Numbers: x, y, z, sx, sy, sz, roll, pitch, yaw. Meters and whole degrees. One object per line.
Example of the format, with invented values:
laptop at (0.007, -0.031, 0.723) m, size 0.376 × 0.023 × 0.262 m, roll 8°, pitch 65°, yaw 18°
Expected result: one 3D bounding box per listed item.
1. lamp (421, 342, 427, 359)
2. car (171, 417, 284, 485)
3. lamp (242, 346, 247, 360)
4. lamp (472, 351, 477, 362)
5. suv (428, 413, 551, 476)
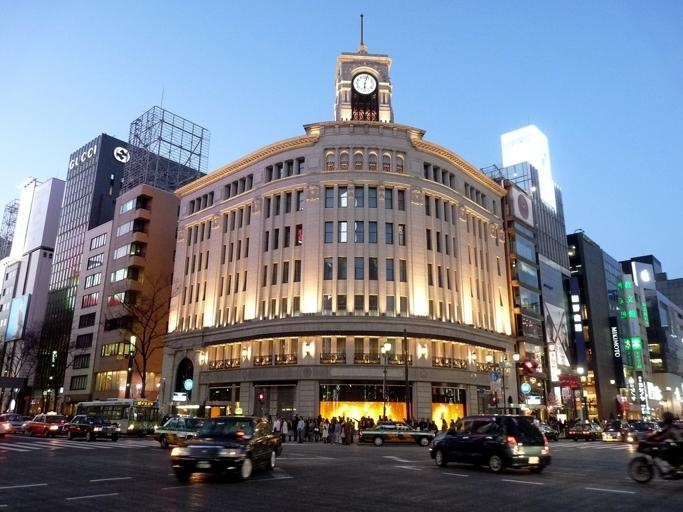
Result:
lamp at (7.561, 8.669, 45.109) m, size 0.560 × 1.205 × 0.214 m, roll 11°, pitch -24°, yaw -26°
car at (-3.454, 6.095, 15.802) m, size 1.969 × 1.908 × 3.307 m, roll -11°, pitch -24°, yaw 25°
lamp at (-9.237, 9.354, 47.467) m, size 0.170 × 1.228 × 0.730 m, roll 20°, pitch -29°, yaw -41°
lamp at (13.428, 10.246, 50.051) m, size 0.267 × 1.205 × 1.387 m, roll -12°, pitch -24°, yaw 26°
suv at (5.383, 6.690, 18.545) m, size 2.197 × 1.627 × 3.736 m, roll 18°, pitch -22°, yaw -38°
